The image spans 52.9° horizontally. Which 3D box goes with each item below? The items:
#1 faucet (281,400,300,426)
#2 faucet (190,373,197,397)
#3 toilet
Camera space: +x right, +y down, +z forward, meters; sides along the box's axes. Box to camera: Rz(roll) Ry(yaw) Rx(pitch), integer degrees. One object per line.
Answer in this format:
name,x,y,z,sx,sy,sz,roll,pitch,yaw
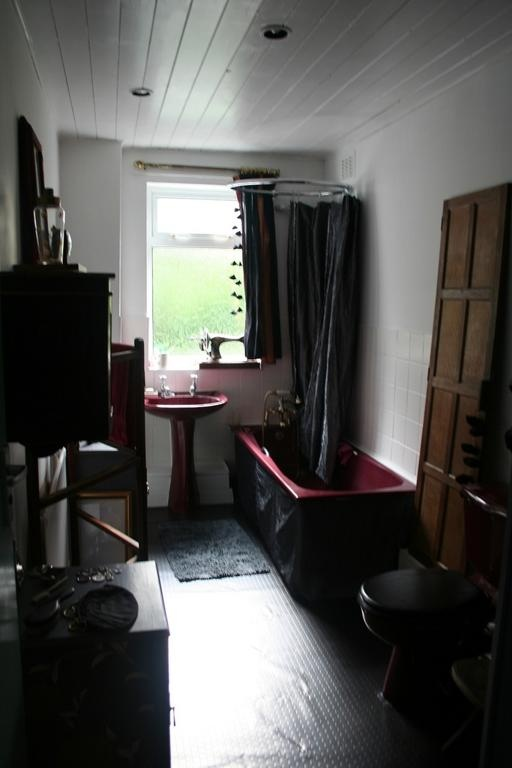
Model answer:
faucet,0.256,0.213,3.889,0.089,0.100,0.185,1,12,-9
faucet,-0.507,-0.005,4.099,0.039,0.233,0.067,0,-5,-3
toilet,0.576,0.923,1.821,0.435,0.430,0.332,-2,4,-19
